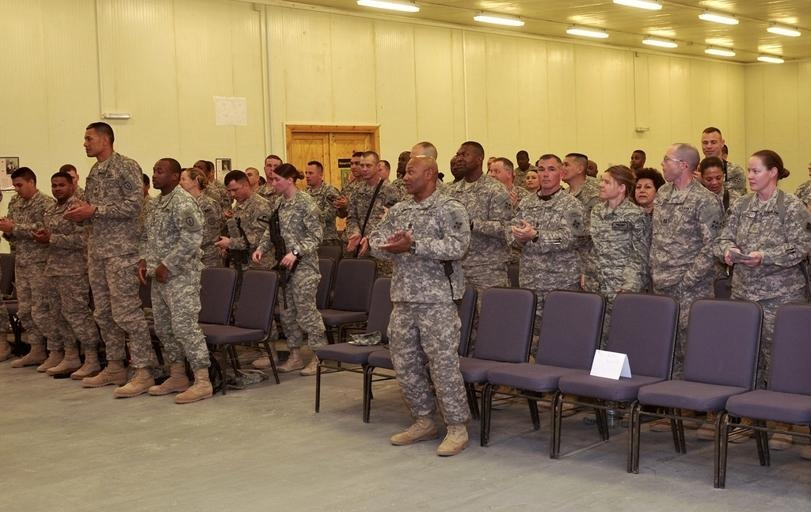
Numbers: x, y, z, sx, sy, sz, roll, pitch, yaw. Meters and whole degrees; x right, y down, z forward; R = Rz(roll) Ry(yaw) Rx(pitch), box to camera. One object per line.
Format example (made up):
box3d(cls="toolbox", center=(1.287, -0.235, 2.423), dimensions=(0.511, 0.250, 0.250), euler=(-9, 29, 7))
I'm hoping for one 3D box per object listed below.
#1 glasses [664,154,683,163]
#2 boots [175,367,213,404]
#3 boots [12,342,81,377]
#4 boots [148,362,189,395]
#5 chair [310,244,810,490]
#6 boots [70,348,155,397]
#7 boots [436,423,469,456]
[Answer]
box3d(cls="glasses", center=(2.178, -0.802, 5.441), dimensions=(0.061, 0.057, 0.151), euler=(-10, 11, -43))
box3d(cls="boots", center=(-2.060, 1.278, 6.478), dimensions=(0.422, 0.268, 0.164), euler=(-14, -1, -1))
box3d(cls="boots", center=(-4.119, 1.195, 7.557), dimensions=(0.756, 0.426, 0.241), euler=(3, -1, 3))
box3d(cls="boots", center=(-2.382, 1.260, 6.702), dimensions=(0.434, 0.270, 0.144), euler=(-8, -8, -1))
box3d(cls="chair", center=(1.368, 0.900, 5.094), dimensions=(2.999, 1.162, 0.877), euler=(2, 9, 28))
box3d(cls="boots", center=(-2.938, 1.252, 6.877), dimensions=(1.009, 0.585, 0.342), euler=(3, -3, 2))
box3d(cls="boots", center=(0.340, 1.404, 5.039), dimensions=(0.134, 0.218, 0.367), euler=(-9, -4, 34))
